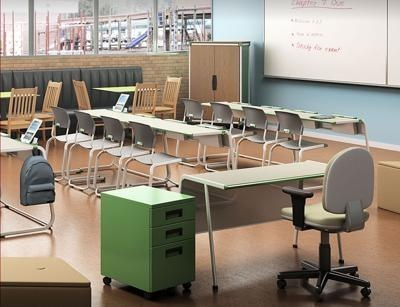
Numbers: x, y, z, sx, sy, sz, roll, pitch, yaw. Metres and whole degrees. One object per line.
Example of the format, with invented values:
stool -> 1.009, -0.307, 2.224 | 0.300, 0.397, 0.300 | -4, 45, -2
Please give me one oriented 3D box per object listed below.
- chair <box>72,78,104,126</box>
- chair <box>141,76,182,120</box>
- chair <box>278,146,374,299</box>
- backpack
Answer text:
chair -> -2.932, -1.306, 8.993 | 0.887, 1.373, 0.784 | -8, 14, -33
chair -> -1.159, -1.381, 9.509 | 1.024, 1.612, 0.844 | -10, 17, -39
chair -> 0.981, 0.515, 2.504 | 0.734, 1.184, 0.513 | 2, 13, 11
backpack -> -1.781, 0.325, 3.619 | 0.375, 0.562, 0.297 | 0, 12, 3
